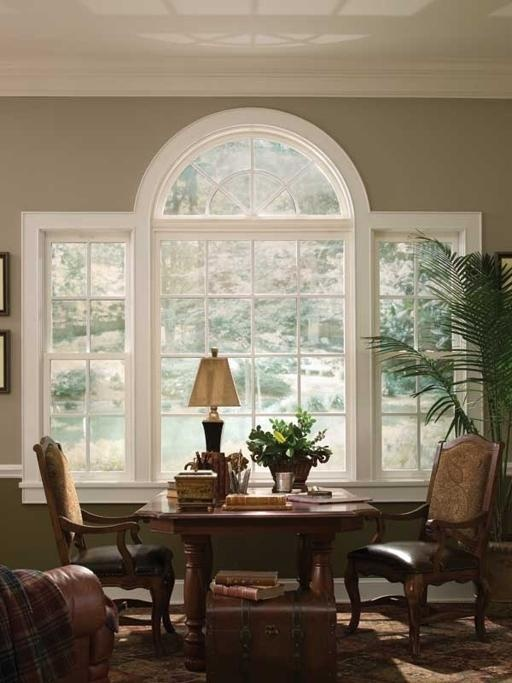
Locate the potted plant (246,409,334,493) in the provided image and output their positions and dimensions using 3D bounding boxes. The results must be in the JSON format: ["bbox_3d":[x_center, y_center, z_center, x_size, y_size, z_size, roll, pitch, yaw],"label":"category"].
[{"bbox_3d":[0.172,0.647,4.008,0.430,0.340,0.403,-11,-2,39],"label":"potted plant"}]

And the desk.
[{"bbox_3d":[0.000,1.228,3.604,1.010,0.540,0.925,0,-5,1],"label":"desk"}]

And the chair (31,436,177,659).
[{"bbox_3d":[-0.768,1.051,3.732,0.731,0.966,0.565,0,-7,5],"label":"chair"}]

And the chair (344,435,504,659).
[{"bbox_3d":[0.875,1.032,3.817,0.760,0.911,0.826,-6,-8,39],"label":"chair"}]

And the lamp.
[{"bbox_3d":[-0.235,0.325,3.906,0.223,0.420,0.286,-2,2,36],"label":"lamp"}]

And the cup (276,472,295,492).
[{"bbox_3d":[0.154,0.752,3.789,0.091,0.080,0.105,1,-11,-4],"label":"cup"}]
